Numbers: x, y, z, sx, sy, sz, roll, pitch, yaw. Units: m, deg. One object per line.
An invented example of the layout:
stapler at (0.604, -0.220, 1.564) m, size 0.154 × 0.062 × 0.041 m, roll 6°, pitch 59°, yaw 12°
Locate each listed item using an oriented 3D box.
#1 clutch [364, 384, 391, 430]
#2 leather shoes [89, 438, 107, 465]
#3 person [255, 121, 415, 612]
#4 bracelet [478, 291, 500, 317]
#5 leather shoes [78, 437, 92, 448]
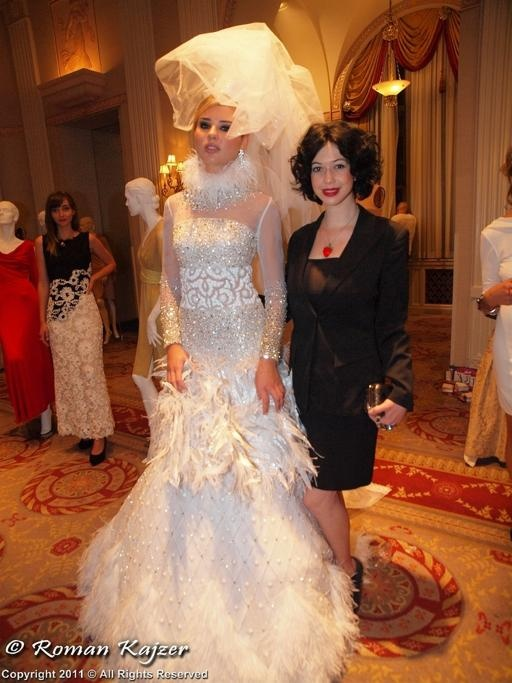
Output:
clutch at (0.331, 0.153, 1.378) m, size 0.050 × 0.068 × 0.050 m, roll -4°, pitch 9°, yaw -6°
leather shoes at (-1.058, 0.720, 3.317) m, size 0.076 × 0.085 × 0.225 m, roll 0°, pitch 8°, yaw -1°
person at (0.293, 0.149, 1.580) m, size 0.466 × 1.634 × 0.360 m, roll 2°, pitch 10°, yaw 32°
bracelet at (0.923, -0.139, 1.967) m, size 0.089 × 0.080 × 0.034 m, roll -10°, pitch -22°, yaw -44°
leather shoes at (-1.222, 0.734, 3.607) m, size 0.073 × 0.083 × 0.198 m, roll 1°, pitch -4°, yaw -4°
